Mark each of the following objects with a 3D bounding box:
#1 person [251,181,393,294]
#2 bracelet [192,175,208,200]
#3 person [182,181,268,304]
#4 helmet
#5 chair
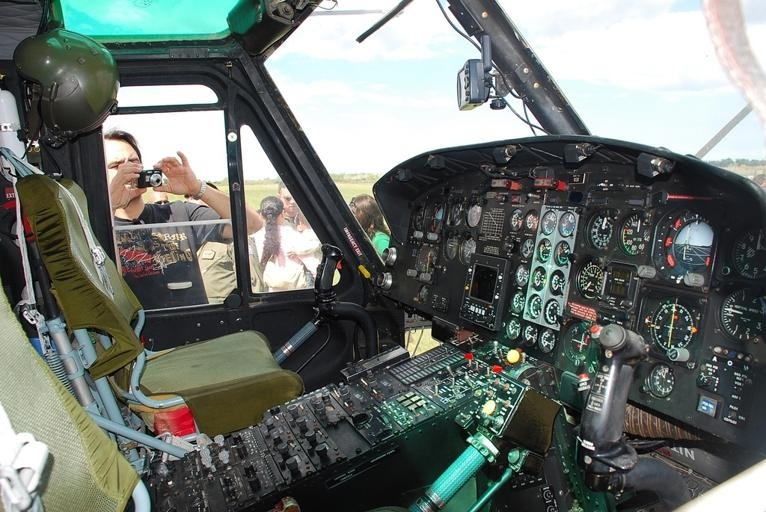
[{"bbox_3d":[-0.514,-0.169,4.036,0.973,0.891,0.235,-1,1,-13],"label":"person"},{"bbox_3d":[-1.366,-0.493,3.794,0.096,0.143,0.130,13,-5,-24],"label":"bracelet"},{"bbox_3d":[-1.235,-0.116,3.872,0.755,0.868,0.474,-8,12,31],"label":"person"},{"bbox_3d":[-1.604,-0.872,2.617,0.444,0.570,0.260,-5,12,-26],"label":"helmet"},{"bbox_3d":[-1.045,0.192,3.341,1.505,1.764,1.095,-17,10,-17],"label":"chair"}]
